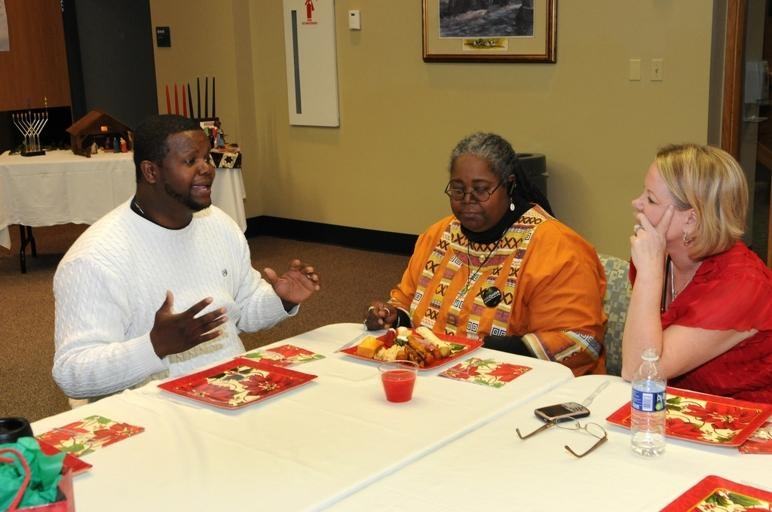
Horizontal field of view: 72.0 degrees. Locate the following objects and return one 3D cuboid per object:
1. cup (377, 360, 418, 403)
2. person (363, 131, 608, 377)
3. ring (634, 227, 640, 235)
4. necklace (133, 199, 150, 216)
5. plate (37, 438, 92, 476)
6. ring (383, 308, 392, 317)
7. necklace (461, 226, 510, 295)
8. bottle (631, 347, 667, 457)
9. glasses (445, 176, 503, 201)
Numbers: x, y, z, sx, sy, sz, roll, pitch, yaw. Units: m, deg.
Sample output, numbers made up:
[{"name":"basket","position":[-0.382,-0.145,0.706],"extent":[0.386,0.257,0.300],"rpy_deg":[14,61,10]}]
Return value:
[{"name":"cup","position":[0.039,0.394,1.686],"extent":[0.097,0.087,0.108],"rpy_deg":[-4,3,2]},{"name":"person","position":[0.410,0.124,2.679],"extent":[1.218,1.351,0.990],"rpy_deg":[3,5,40]},{"name":"ring","position":[0.870,-0.089,1.864],"extent":[0.022,0.028,0.010],"rpy_deg":[-4,24,-22]},{"name":"necklace","position":[-0.964,-0.192,2.113],"extent":[0.053,0.068,0.024],"rpy_deg":[-19,-14,-39]},{"name":"plate","position":[-0.742,0.469,1.237],"extent":[0.185,0.015,0.068],"rpy_deg":[19,25,33]},{"name":"ring","position":[0.006,0.233,2.238],"extent":[0.024,0.018,0.032],"rpy_deg":[2,1,30]},{"name":"necklace","position":[0.433,0.020,2.348],"extent":[0.063,0.237,0.221],"rpy_deg":[16,-5,-14]},{"name":"bottle","position":[0.680,0.373,1.376],"extent":[0.087,0.233,0.151],"rpy_deg":[5,16,27]},{"name":"glasses","position":[0.367,-0.286,2.335],"extent":[0.251,0.085,0.115],"rpy_deg":[5,16,26]}]
